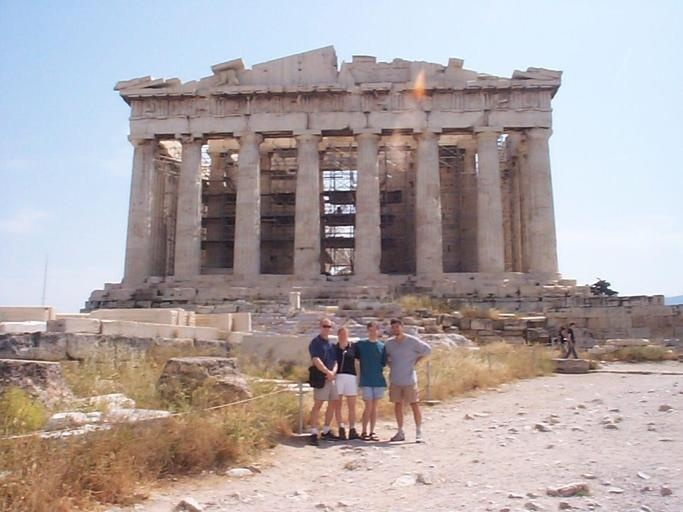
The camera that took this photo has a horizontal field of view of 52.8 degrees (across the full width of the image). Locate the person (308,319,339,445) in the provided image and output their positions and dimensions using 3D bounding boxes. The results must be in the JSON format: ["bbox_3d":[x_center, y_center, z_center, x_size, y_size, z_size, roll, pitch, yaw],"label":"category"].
[{"bbox_3d":[-0.321,2.172,12.110,0.517,2.119,0.680,-2,0,-1],"label":"person"}]

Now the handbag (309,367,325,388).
[{"bbox_3d":[-0.437,2.109,11.913,0.320,0.373,0.137,-2,0,26],"label":"handbag"}]

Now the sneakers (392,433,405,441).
[{"bbox_3d":[0.933,3.153,11.931,0.298,0.097,0.100,0,-2,22],"label":"sneakers"}]

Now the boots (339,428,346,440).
[{"bbox_3d":[0.018,3.120,12.120,0.150,0.215,0.217,-2,0,0],"label":"boots"}]

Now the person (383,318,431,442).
[{"bbox_3d":[1.156,2.274,12.056,0.775,1.977,0.635,-2,0,12],"label":"person"}]

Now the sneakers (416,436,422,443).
[{"bbox_3d":[1.333,3.144,11.781,0.116,0.111,0.162,-2,0,5],"label":"sneakers"}]

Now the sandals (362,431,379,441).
[{"bbox_3d":[0.501,3.157,12.036,0.301,0.132,0.252,-1,0,1],"label":"sandals"}]

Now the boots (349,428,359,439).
[{"bbox_3d":[0.218,3.133,12.122,0.202,0.191,0.172,-2,0,0],"label":"boots"}]

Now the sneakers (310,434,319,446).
[{"bbox_3d":[-0.467,3.158,11.873,0.163,0.206,0.260,-2,0,-4],"label":"sneakers"}]
